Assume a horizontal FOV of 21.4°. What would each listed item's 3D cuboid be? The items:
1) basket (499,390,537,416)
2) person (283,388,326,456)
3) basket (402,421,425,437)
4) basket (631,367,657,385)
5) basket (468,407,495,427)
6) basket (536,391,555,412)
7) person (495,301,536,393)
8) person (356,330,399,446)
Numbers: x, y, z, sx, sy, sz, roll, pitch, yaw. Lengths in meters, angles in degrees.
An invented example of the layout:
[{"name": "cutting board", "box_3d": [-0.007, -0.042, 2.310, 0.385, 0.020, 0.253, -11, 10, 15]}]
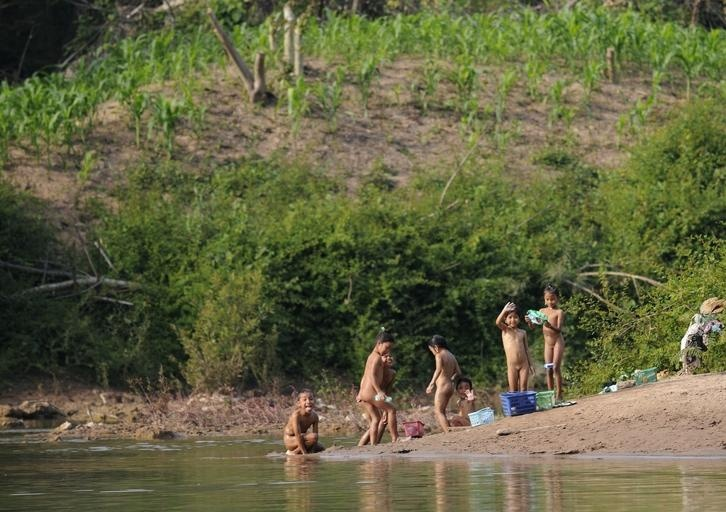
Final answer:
[{"name": "basket", "box_3d": [3.791, 3.723, 47.340, 0.724, 0.455, 0.544, 0, -7, -18]}, {"name": "person", "box_3d": [-1.489, 4.211, 46.984, 0.924, 1.592, 0.989, -6, 19, -28]}, {"name": "basket", "box_3d": [1.241, 4.372, 47.265, 0.416, 0.319, 0.373, -10, -10, 21]}, {"name": "basket", "box_3d": [7.203, 3.136, 48.949, 0.485, 0.357, 0.406, -1, -4, -2]}, {"name": "basket", "box_3d": [2.909, 4.114, 47.531, 0.530, 0.357, 0.408, -22, -11, 33]}, {"name": "basket", "box_3d": [4.531, 3.686, 47.679, 0.469, 0.438, 0.417, -3, -9, 15]}, {"name": "person", "box_3d": [3.809, 2.377, 48.044, 0.700, 2.424, 0.945, -2, 0, -4]}, {"name": "person", "box_3d": [0.370, 3.468, 47.090, 1.003, 2.921, 0.845, 2, 16, -1]}]
